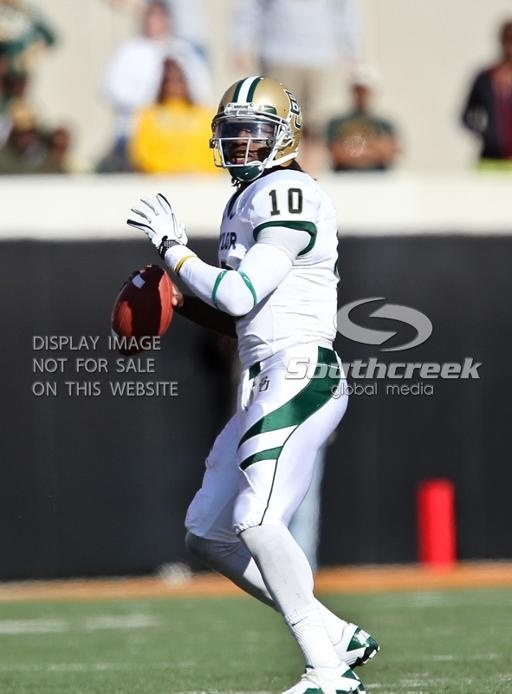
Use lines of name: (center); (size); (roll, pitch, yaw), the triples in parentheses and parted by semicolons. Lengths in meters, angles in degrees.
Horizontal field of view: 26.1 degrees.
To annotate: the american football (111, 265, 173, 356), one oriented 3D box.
american football: (-0.358, -0.122, 3.452); (0.166, 0.291, 0.164); (-7, 10, -31)
